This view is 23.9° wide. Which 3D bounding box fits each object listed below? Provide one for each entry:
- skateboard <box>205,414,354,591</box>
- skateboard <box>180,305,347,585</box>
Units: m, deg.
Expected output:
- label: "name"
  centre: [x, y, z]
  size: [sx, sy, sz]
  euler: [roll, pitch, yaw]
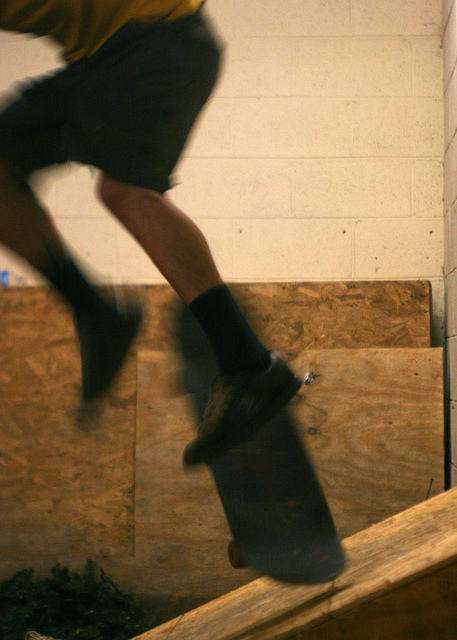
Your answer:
- label: "skateboard"
  centre: [0.181, 0.606, 3.463]
  size: [0.325, 0.481, 0.502]
  euler: [-17, 20, -32]
- label: "skateboard"
  centre: [0.102, 0.472, 3.511]
  size: [0.272, 1.058, 0.158]
  euler: [-20, -2, -2]
